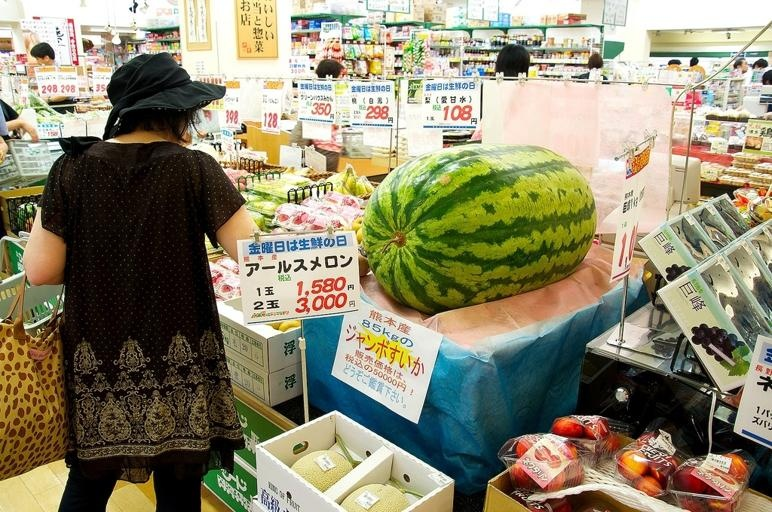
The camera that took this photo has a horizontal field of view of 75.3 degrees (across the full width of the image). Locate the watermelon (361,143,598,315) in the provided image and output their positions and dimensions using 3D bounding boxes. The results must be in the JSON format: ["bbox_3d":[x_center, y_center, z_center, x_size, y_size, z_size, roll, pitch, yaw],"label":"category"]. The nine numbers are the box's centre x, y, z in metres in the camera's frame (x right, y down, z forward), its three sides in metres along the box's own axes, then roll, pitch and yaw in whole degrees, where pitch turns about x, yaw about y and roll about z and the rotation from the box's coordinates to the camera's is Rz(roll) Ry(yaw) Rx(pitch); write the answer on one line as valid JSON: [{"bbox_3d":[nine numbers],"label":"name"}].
[{"bbox_3d":[0.491,-0.143,2.578,1.285,0.795,0.805,-12,8,-44],"label":"watermelon"}]

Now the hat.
[{"bbox_3d":[-0.824,-0.581,1.839,0.441,0.303,0.273,-10,24,-25],"label":"hat"}]

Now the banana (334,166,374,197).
[{"bbox_3d":[-0.231,-0.512,3.515,0.206,0.148,0.258,-4,14,-2],"label":"banana"}]

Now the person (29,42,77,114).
[{"bbox_3d":[-5.308,-2.502,7.748,0.391,1.361,0.439,20,17,32],"label":"person"}]

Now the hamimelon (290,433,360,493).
[{"bbox_3d":[-0.208,0.774,1.864,0.188,0.106,0.275,14,25,30],"label":"hamimelon"}]
